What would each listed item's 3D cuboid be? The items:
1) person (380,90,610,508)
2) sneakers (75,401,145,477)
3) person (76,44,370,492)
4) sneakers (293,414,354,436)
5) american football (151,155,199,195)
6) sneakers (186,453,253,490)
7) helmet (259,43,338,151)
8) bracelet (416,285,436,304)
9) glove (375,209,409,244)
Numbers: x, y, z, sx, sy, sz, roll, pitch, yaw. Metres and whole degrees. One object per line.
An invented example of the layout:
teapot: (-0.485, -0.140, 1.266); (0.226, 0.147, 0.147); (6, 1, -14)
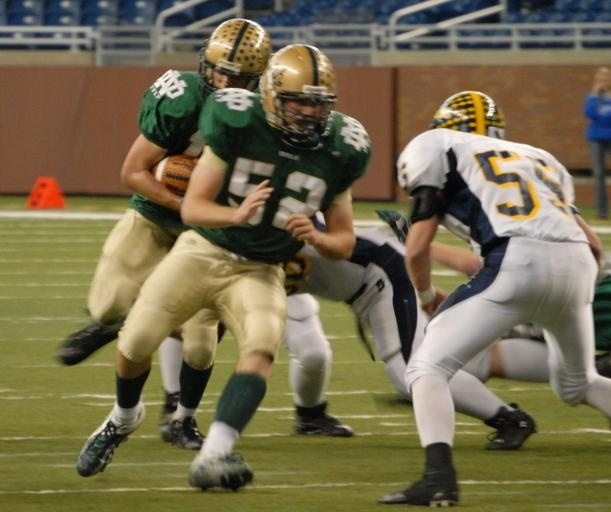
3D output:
person: (0.574, 0.170, 3.630); (0.700, 1.186, 0.966); (12, 15, 31)
sneakers: (-0.686, 0.658, 3.747); (0.131, 0.348, 0.154); (43, -37, -6)
person: (-0.291, 0.024, 3.643); (0.658, 1.543, 0.868); (11, 15, 27)
sneakers: (0.062, 0.715, 4.288); (0.281, 0.088, 0.082); (0, -7, 2)
american football: (-0.511, -0.313, 4.103); (0.219, 0.100, 0.132); (3, 10, -3)
sneakers: (-0.277, 0.719, 3.401); (0.198, 0.071, 0.116); (5, -12, -38)
helmet: (-0.030, -0.559, 3.641); (0.247, 0.357, 0.177); (3, 13, -4)
bracelet: (0.469, 0.159, 4.010); (0.078, 0.066, 0.067); (11, -29, 27)
glove: (0.395, -0.123, 4.619); (0.189, 0.066, 0.115); (30, -47, -22)
